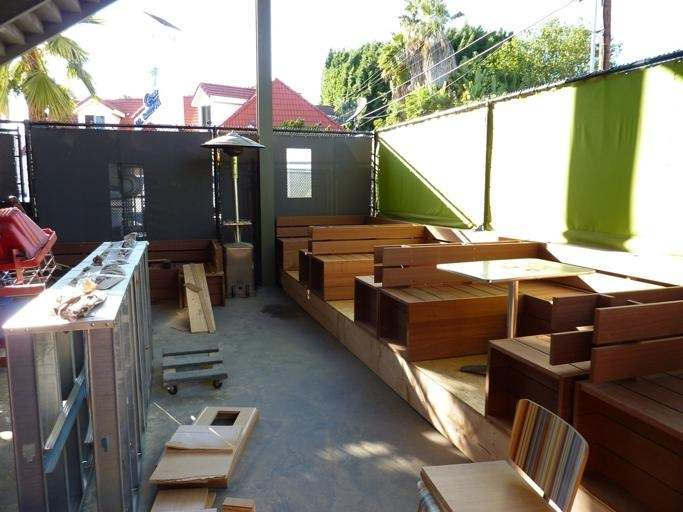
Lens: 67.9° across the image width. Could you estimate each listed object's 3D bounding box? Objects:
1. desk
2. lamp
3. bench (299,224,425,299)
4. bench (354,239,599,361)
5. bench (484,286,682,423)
[{"bbox_3d":[1.327,0.180,4.191,1.058,1.047,1.048,-6,17,-18],"label":"desk"},{"bbox_3d":[-1.743,-0.768,8.520,0.975,2.594,1.445,-2,12,-9],"label":"lamp"},{"bbox_3d":[0.119,-0.055,6.990,1.216,0.760,1.207,-2,6,-11],"label":"bench"},{"bbox_3d":[1.330,0.299,5.041,1.887,0.850,1.041,-2,6,-25],"label":"bench"},{"bbox_3d":[1.524,0.554,3.394,1.278,0.920,0.883,-5,13,-20],"label":"bench"}]
